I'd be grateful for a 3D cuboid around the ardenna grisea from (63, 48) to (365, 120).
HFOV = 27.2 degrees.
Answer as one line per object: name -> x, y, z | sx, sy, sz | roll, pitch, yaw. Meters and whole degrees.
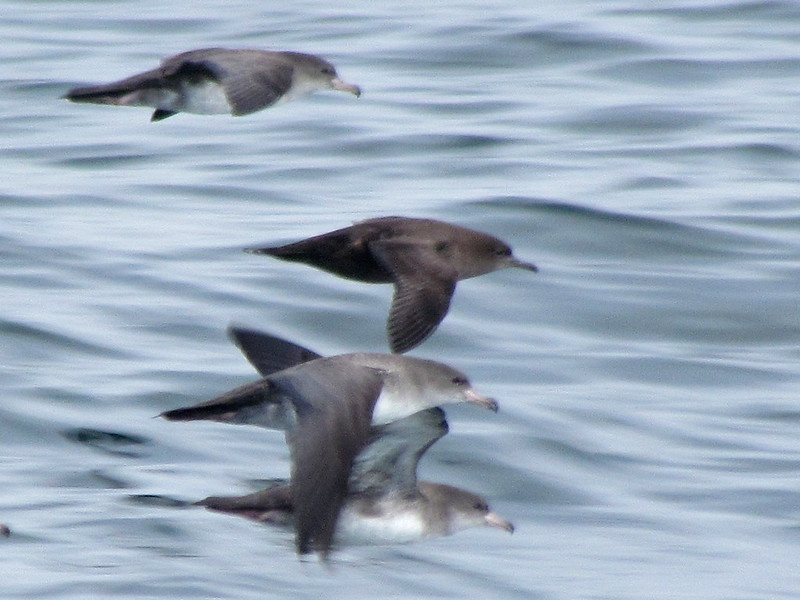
ardenna grisea -> -1.817, -2.198, 16.622 | 2.711, 1.140, 0.334 | 5, 87, -12
